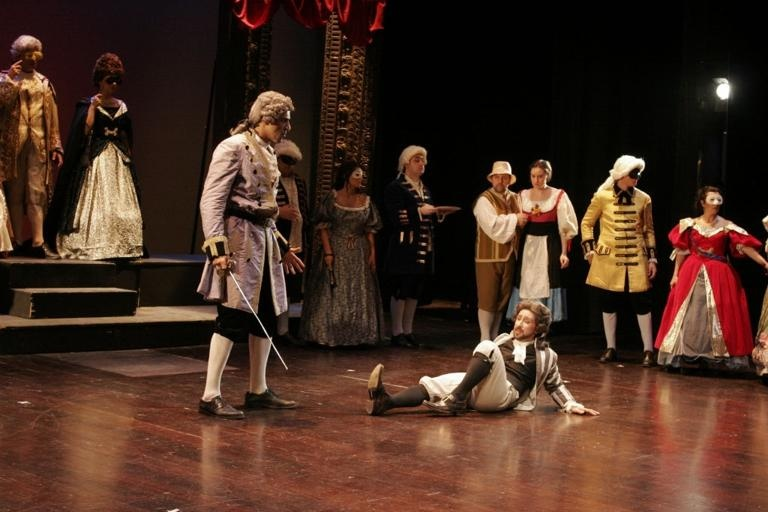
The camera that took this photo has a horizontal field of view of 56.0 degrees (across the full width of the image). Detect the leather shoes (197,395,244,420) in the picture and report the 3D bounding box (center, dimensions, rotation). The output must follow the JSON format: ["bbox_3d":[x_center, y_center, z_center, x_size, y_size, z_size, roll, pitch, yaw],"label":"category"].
[{"bbox_3d":[-0.998,0.918,4.340,0.300,0.092,0.114,-3,-7,26],"label":"leather shoes"}]

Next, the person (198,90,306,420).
[{"bbox_3d":[-0.837,-0.028,4.439,0.369,1.993,0.651,9,8,43],"label":"person"}]

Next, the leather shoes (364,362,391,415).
[{"bbox_3d":[-0.039,0.821,4.543,0.135,0.325,0.263,-1,-12,36],"label":"leather shoes"}]

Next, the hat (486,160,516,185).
[{"bbox_3d":[1.137,-0.844,6.977,0.284,0.151,0.314,2,-11,-1],"label":"hat"}]

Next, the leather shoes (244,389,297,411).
[{"bbox_3d":[-0.745,0.934,4.671,0.366,0.129,0.122,-1,-9,2],"label":"leather shoes"}]

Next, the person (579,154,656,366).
[{"bbox_3d":[2.285,0.008,6.902,0.759,1.886,1.045,5,6,20],"label":"person"}]

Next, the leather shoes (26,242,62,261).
[{"bbox_3d":[-2.991,-0.056,6.448,0.379,0.141,0.118,2,-3,-7],"label":"leather shoes"}]

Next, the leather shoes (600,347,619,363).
[{"bbox_3d":[2.058,0.893,6.596,0.147,0.116,0.212,4,5,16],"label":"leather shoes"}]

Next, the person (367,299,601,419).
[{"bbox_3d":[0.670,0.627,4.820,1.287,0.624,0.801,1,-3,-20],"label":"person"}]

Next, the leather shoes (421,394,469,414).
[{"bbox_3d":[0.407,0.946,4.620,0.312,0.124,0.110,5,-10,-10],"label":"leather shoes"}]
